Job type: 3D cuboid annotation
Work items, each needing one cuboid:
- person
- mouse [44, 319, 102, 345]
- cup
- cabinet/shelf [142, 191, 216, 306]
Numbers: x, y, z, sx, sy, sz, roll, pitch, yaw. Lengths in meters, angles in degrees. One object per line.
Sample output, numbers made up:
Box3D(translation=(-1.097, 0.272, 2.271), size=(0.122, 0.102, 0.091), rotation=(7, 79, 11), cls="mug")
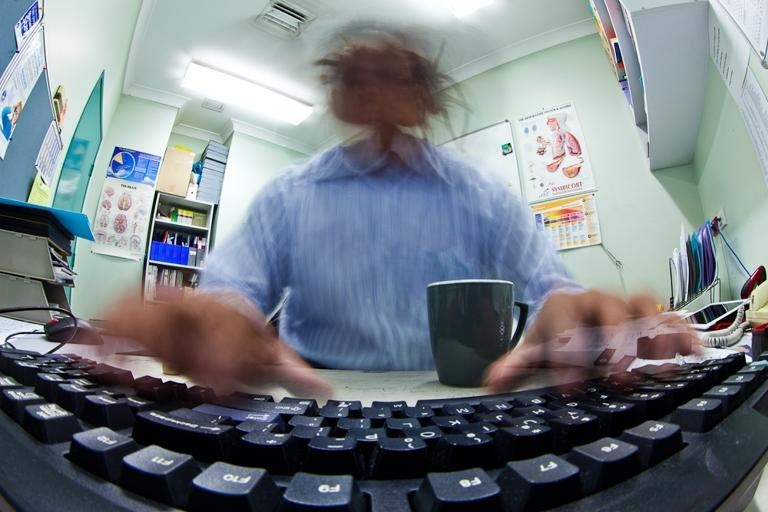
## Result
Box3D(translation=(0.050, -0.157, 1.054), size=(1.592, 0.932, 0.270), rotation=(0, 5, 0), cls="person")
Box3D(translation=(-0.619, 0.154, 0.846), size=(0.110, 0.037, 0.060), rotation=(13, 4, -46), cls="mouse")
Box3D(translation=(0.152, 0.127, 0.717), size=(0.142, 0.163, 0.185), rotation=(-2, -9, 21), cls="cup")
Box3D(translation=(-0.849, -0.036, 1.692), size=(0.173, 0.400, 0.118), rotation=(10, -10, -29), cls="cabinet/shelf")
